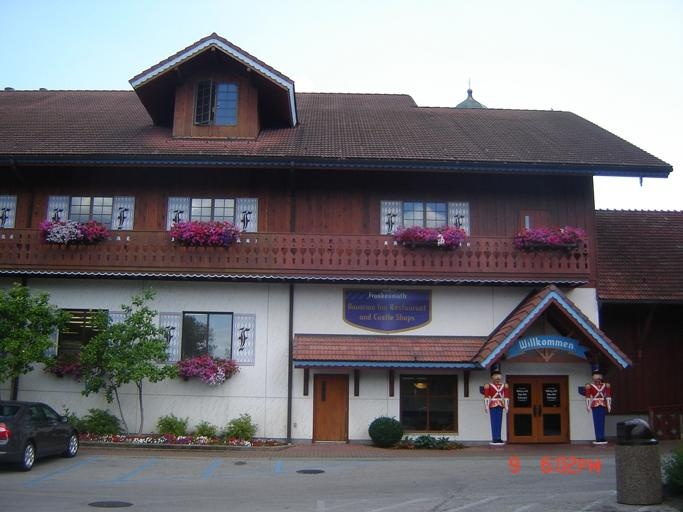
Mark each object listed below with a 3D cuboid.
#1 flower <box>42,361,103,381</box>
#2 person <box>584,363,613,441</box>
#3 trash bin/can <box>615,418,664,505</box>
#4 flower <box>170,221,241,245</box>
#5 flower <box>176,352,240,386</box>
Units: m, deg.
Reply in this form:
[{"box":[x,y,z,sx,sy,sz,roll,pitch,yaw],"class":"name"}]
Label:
[{"box":[-11.026,4.575,34.832,1.581,0.722,0.527,1,2,11],"class":"flower"},{"box":[9.965,5.950,34.059,0.894,2.921,1.092,1,1,16],"class":"person"},{"box":[8.653,6.042,25.430,1.303,2.382,0.649,1,1,15],"class":"trash bin/can"},{"box":[-5.512,-0.862,34.834,1.538,0.605,1.349,0,-2,21],"class":"flower"},{"box":[-5.314,4.585,34.702,2.365,1.212,0.804,0,2,-12],"class":"flower"}]
